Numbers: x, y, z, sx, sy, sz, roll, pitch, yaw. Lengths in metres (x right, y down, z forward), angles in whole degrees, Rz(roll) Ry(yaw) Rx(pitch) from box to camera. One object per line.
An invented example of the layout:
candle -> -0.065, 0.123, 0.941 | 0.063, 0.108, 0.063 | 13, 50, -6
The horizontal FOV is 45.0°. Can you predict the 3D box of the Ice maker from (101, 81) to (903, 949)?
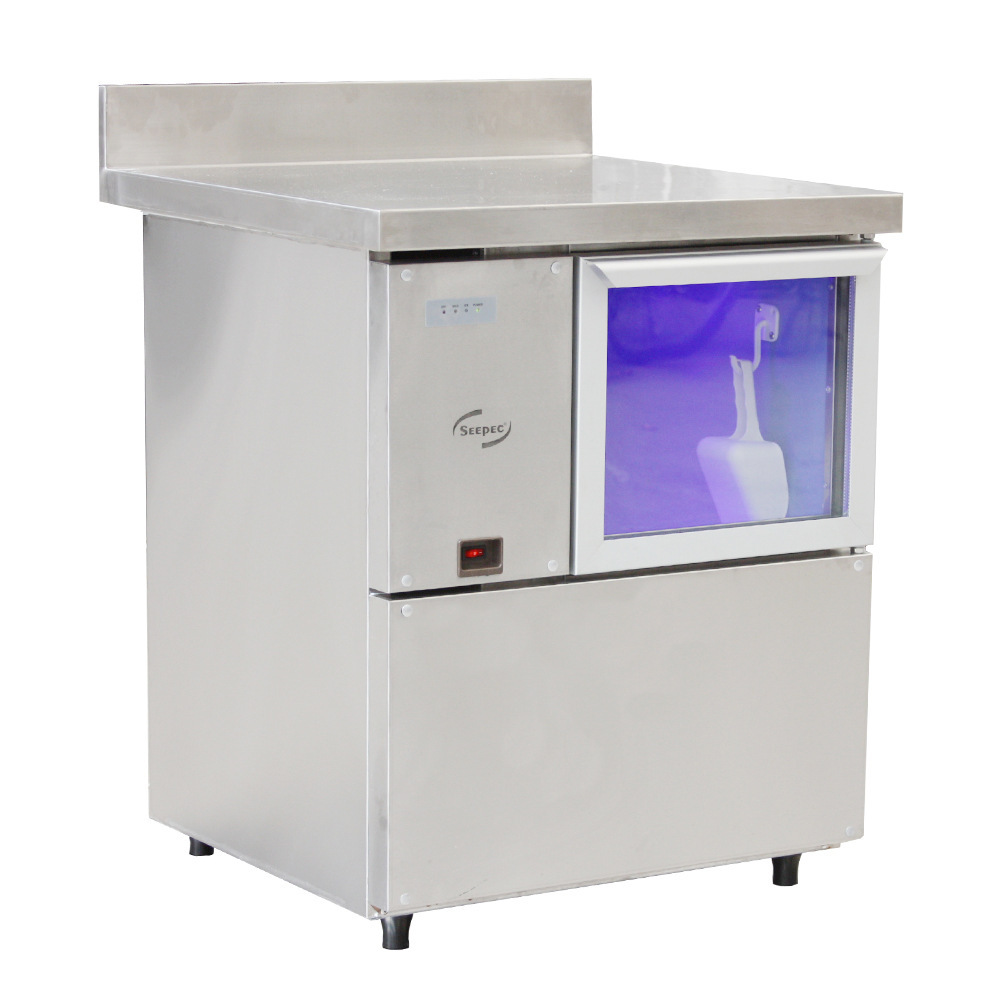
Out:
Ice maker -> -0.004, -0.018, 2.351 | 1.047, 1.353, 1.215 | 8, 12, 38
